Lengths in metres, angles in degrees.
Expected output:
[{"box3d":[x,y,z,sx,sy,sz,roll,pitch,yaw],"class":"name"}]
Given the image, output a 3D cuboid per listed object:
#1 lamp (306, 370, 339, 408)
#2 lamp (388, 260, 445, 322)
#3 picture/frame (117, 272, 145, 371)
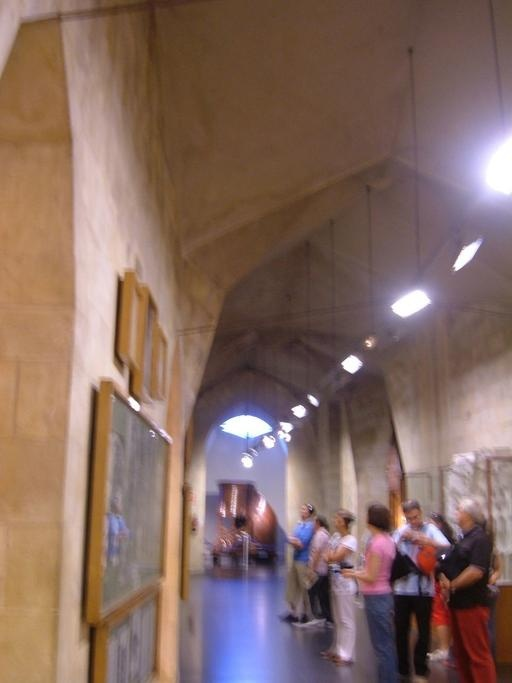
[{"box3d":[1.722,1.262,15.511,0.845,1.191,1.317,-3,-17,7],"class":"lamp"},{"box3d":[2.266,-0.777,8.448,0.646,0.274,1.008,-26,-8,-18],"class":"lamp"},{"box3d":[-0.599,-0.096,2.853,0.060,0.442,0.303,3,17,-24],"class":"picture/frame"}]
